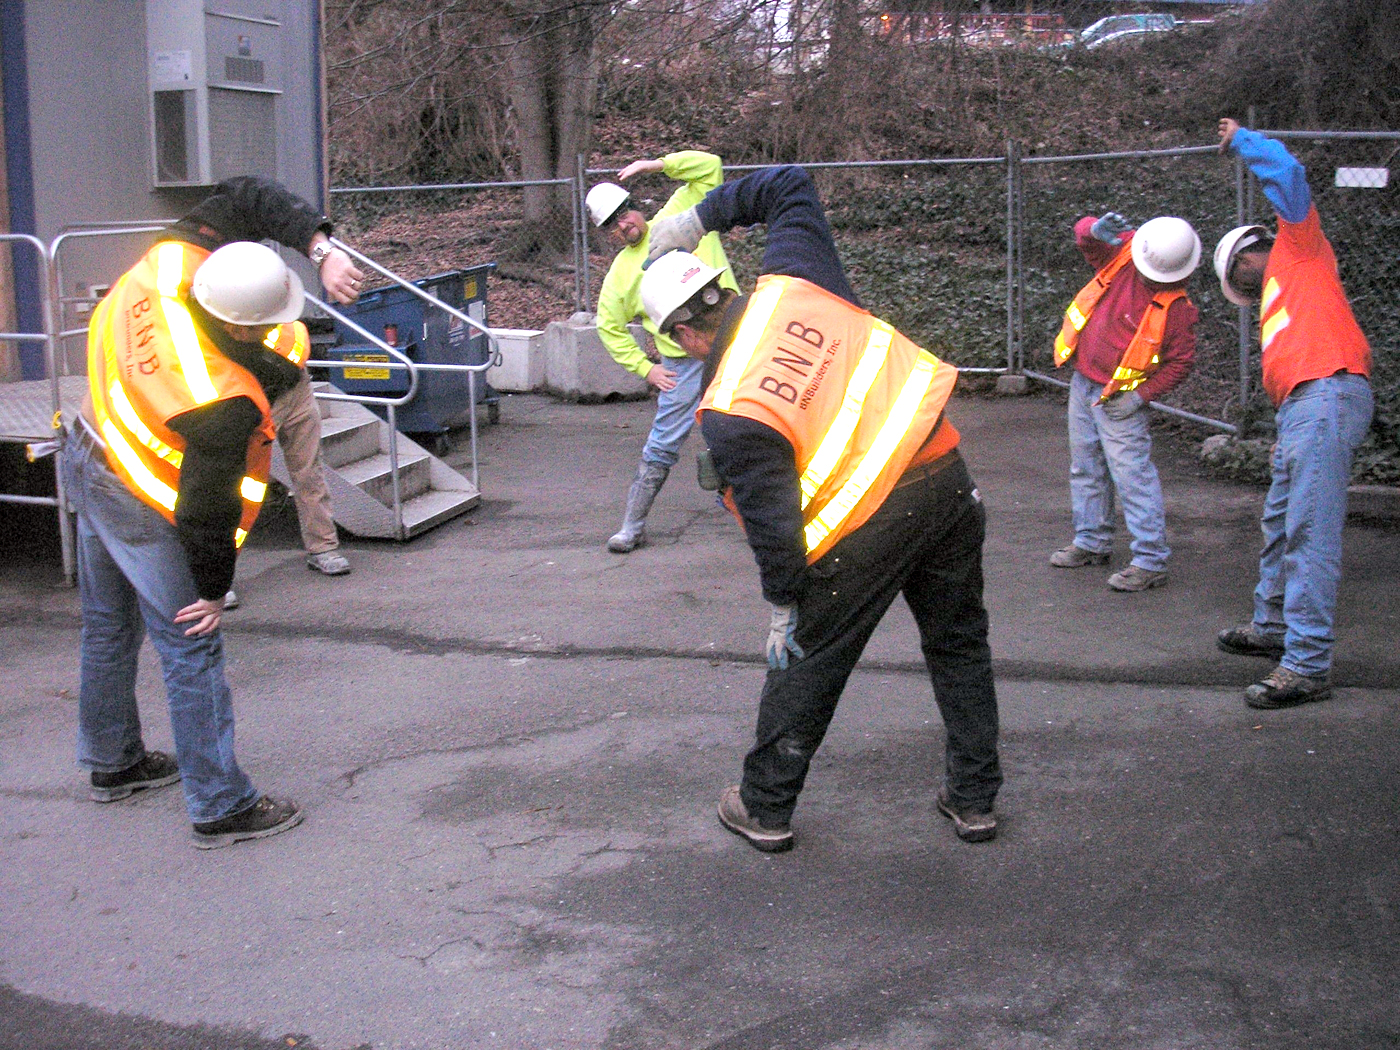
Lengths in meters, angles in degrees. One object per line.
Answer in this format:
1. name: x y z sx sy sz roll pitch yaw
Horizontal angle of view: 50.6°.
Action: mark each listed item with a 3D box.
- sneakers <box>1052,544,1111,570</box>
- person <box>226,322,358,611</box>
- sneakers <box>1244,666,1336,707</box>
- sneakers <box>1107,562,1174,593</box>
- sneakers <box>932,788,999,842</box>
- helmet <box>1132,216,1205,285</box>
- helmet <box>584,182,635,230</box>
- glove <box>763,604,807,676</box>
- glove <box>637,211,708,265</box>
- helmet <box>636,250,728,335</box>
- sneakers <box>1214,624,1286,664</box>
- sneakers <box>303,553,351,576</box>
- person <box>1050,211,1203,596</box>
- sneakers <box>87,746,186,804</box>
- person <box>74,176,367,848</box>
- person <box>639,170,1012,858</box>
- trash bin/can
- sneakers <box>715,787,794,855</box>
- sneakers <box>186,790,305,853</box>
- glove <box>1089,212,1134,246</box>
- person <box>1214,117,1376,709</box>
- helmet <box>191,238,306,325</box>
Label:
1. sneakers: 2.195 0.193 8.434 0.352 0.135 0.127 2 6 -2
2. person: -2.271 -0.265 8.602 0.389 1.271 1.451 -10 -27 -7
3. sneakers: 2.630 0.730 6.528 0.433 0.169 0.144 -1 -2 -5
4. sneakers: 2.395 0.295 7.961 0.355 0.157 0.121 -1 23 -4
5. sneakers: 1.016 1.102 5.640 0.114 0.112 0.268 -10 18 -15
6. helmet: 2.412 -1.393 7.684 0.333 0.335 0.216 1 11 12
7. helmet: -0.533 -1.842 8.648 0.235 0.257 0.326 -2 11 -7
8. glove: 0.330 0.419 5.432 0.187 0.202 0.103 12 1 43
9. glove: -0.098 -1.138 5.862 0.263 0.080 0.198 -28 -29 31
10. helmet: -0.107 -0.816 5.566 0.251 0.185 0.355 -48 2 -18
11. sneakers: 2.611 0.569 7.001 0.334 0.130 0.125 6 16 19
12. sneakers: -2.190 0.252 8.717 0.280 0.113 0.112 2 6 38
13. person: 2.306 -0.640 8.026 0.566 1.936 0.706 -4 12 -12
14. sneakers: -2.309 1.047 6.166 0.154 0.148 0.392 11 15 38
15. person: -1.918 -0.056 5.726 1.052 2.523 0.831 -6 13 -22
16. person: 0.576 -0.035 5.432 1.059 2.511 0.756 2 12 15
17. trash bin/can: -2.594 -1.466 12.453 1.477 1.463 2.014 1 15 0
18. sneakers: 0.204 1.104 5.640 0.165 0.150 0.369 -8 23 -32
19. sneakers: -1.770 1.147 5.790 0.410 0.160 0.160 -7 11 -20
20. glove: 2.269 -1.611 8.229 0.237 0.163 0.103 24 8 -26
21. person: 2.675 -0.533 6.682 0.691 2.551 1.141 2 12 15
22. helmet: -1.643 -0.852 5.425 0.396 0.278 0.152 1 -16 -5
